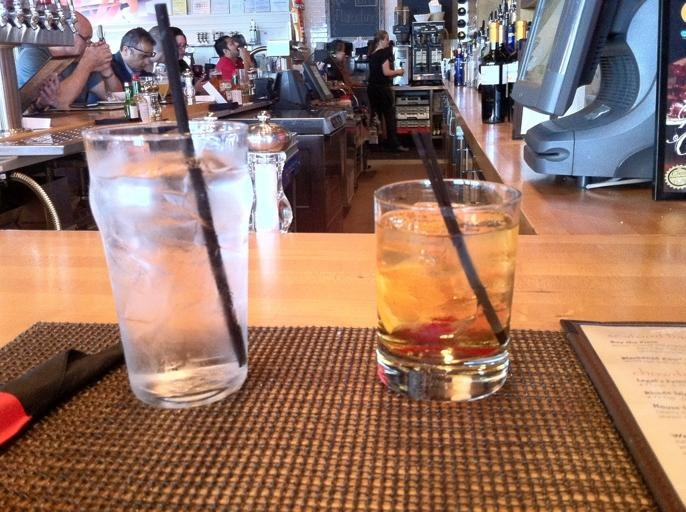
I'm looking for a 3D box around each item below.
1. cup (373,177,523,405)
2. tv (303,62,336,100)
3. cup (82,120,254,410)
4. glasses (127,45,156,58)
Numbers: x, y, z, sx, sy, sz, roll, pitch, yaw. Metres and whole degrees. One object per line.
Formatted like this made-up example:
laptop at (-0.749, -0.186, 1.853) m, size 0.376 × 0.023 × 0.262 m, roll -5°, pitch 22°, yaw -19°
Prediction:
cup at (0.105, 0.034, 0.527) m, size 0.153 × 0.208 × 0.121 m, roll -5°, pitch 23°, yaw 2°
tv at (-0.270, -1.850, 5.512) m, size 0.247 × 0.415 × 0.574 m, roll -6°, pitch 22°, yaw -1°
cup at (-0.152, 0.005, 0.521) m, size 0.174 × 0.274 × 0.133 m, roll -21°, pitch 27°, yaw -31°
glasses at (-2.177, -2.216, 5.566) m, size 0.182 × 0.052 × 0.179 m, roll 36°, pitch 23°, yaw 25°
